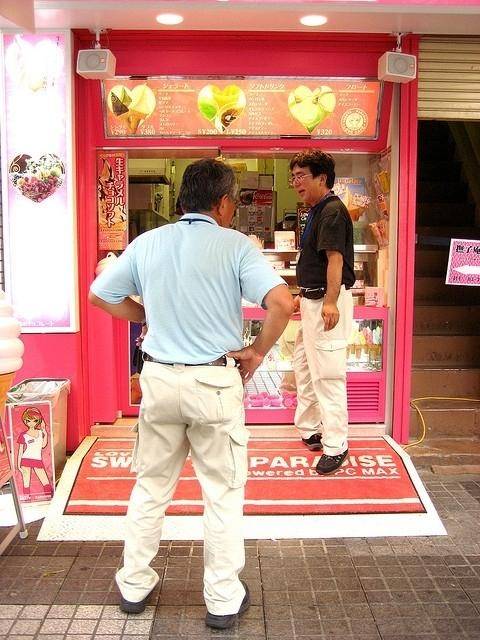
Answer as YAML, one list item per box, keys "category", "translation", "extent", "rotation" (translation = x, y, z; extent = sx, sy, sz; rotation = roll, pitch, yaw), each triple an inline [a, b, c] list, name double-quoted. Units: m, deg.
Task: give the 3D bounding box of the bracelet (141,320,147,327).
- category: "bracelet"
  translation: [-0.373, 0.013, 1.988]
  extent: [0.008, 0.026, 0.030]
  rotation: [-4, 5, -44]

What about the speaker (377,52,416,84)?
- category: "speaker"
  translation: [0.976, -1.565, 3.134]
  extent: [0.201, 0.200, 0.135]
  rotation: [0, 2, -8]

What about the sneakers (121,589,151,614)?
- category: "sneakers"
  translation: [-0.376, 1.014, 1.848]
  extent: [0.043, 0.053, 0.129]
  rotation: [6, -5, 9]

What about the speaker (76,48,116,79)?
- category: "speaker"
  translation: [-0.876, -1.508, 3.099]
  extent: [0.211, 0.148, 0.204]
  rotation: [0, 8, -1]

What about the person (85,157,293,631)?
- category: "person"
  translation: [-0.170, 0.257, 1.767]
  extent: [0.708, 1.592, 0.322]
  rotation: [0, 2, 4]

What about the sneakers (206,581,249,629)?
- category: "sneakers"
  translation: [-0.038, 0.996, 1.813]
  extent: [0.062, 0.087, 0.186]
  rotation: [1, 11, 20]
